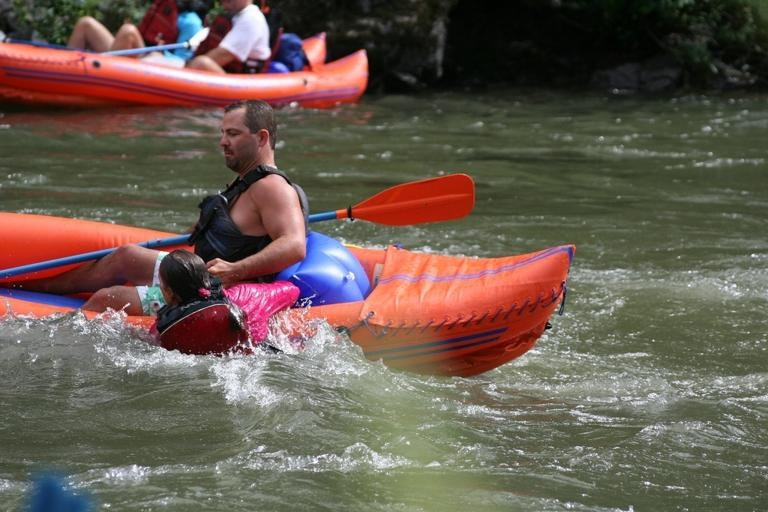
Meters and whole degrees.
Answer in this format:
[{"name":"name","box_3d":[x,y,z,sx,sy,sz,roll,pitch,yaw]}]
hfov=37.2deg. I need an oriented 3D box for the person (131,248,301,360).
[{"name":"person","box_3d":[-1.444,0.502,9.319,1.297,0.431,1.278,-16,11,21]}]
